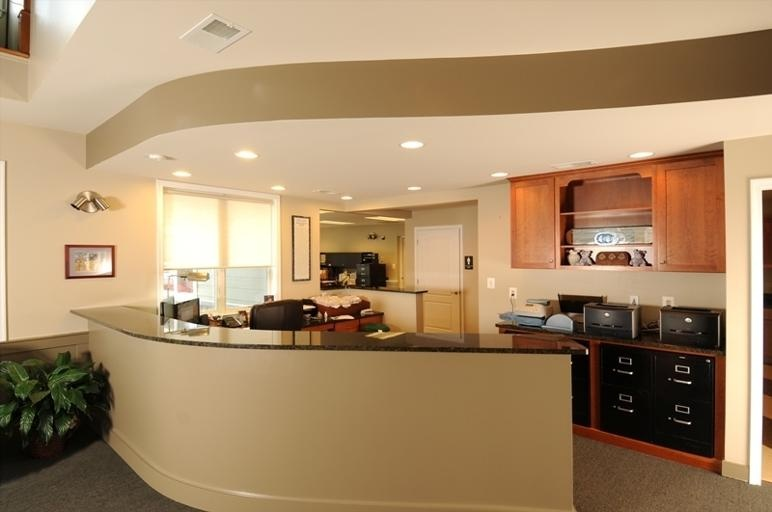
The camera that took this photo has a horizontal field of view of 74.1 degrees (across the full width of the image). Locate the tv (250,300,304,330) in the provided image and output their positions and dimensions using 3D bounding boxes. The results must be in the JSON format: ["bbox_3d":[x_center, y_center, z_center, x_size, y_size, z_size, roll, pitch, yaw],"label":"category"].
[{"bbox_3d":[-1.164,0.656,5.546,0.189,0.340,0.655,-1,-2,37],"label":"tv"}]

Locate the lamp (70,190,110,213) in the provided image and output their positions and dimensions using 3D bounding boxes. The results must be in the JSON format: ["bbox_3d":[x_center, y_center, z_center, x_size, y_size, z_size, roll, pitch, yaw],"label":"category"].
[{"bbox_3d":[-3.088,-0.565,5.373,0.368,0.228,0.139,1,-2,-40],"label":"lamp"}]

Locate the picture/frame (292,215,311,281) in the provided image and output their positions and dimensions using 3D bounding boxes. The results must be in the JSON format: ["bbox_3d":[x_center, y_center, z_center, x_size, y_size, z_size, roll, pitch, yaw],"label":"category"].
[{"bbox_3d":[-1.207,-0.114,7.230,0.063,0.900,0.351,-1,-2,34],"label":"picture/frame"}]

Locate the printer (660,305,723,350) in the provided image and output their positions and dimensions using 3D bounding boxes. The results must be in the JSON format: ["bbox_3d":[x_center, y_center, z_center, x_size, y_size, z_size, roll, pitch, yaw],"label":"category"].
[{"bbox_3d":[2.870,0.651,4.836,0.671,0.392,0.367,0,-2,40],"label":"printer"}]

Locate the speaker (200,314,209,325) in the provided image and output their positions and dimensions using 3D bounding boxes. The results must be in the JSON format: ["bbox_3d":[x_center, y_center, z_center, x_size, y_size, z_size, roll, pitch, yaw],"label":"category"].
[{"bbox_3d":[-2.030,0.711,5.720,0.126,0.113,0.108,1,-2,-22],"label":"speaker"}]

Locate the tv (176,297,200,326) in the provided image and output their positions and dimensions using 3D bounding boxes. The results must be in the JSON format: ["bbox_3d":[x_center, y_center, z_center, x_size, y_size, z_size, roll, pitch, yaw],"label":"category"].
[{"bbox_3d":[-1.990,0.565,5.124,0.167,0.255,0.552,0,-1,-8],"label":"tv"}]

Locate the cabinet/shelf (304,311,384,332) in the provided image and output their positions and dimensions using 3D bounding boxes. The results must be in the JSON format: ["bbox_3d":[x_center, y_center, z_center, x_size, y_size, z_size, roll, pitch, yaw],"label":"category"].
[{"bbox_3d":[-0.407,0.929,7.077,0.325,0.230,1.762,-1,-2,35],"label":"cabinet/shelf"}]

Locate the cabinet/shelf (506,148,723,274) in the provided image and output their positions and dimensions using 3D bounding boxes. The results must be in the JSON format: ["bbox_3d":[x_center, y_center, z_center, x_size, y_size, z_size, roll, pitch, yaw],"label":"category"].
[{"bbox_3d":[2.378,-0.391,5.388,1.989,1.138,0.450,-1,-2,31],"label":"cabinet/shelf"}]

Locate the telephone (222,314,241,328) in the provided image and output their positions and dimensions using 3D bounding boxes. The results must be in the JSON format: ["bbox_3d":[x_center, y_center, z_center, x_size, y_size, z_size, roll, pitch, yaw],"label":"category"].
[{"bbox_3d":[-1.843,0.780,6.134,0.181,0.063,0.236,0,1,-39],"label":"telephone"}]

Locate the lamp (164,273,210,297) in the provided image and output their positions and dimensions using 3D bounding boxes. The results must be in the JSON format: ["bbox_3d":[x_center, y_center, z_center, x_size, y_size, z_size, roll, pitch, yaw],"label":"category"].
[{"bbox_3d":[-2.395,0.339,6.232,0.217,0.303,0.583,-1,-2,35],"label":"lamp"}]

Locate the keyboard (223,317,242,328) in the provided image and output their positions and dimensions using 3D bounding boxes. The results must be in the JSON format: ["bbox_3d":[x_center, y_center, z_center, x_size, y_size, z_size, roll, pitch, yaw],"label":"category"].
[{"bbox_3d":[-1.827,0.784,6.083,0.213,0.088,0.522,0,-1,-18],"label":"keyboard"}]
